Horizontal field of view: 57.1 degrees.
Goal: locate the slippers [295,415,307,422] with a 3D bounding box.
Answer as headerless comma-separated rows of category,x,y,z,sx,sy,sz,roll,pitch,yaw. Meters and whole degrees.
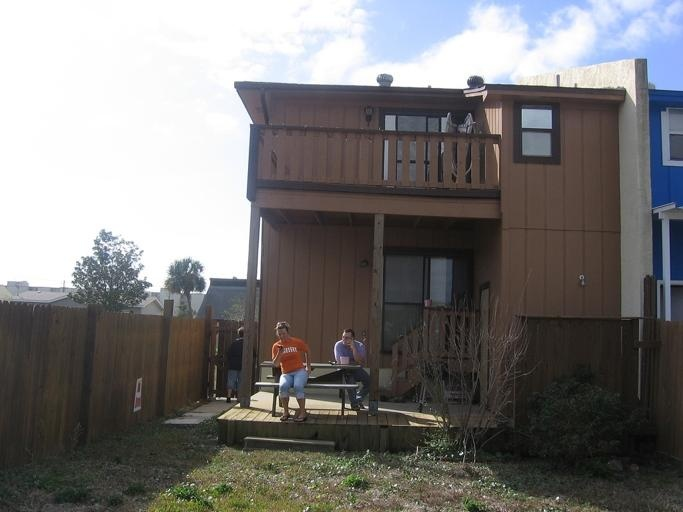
slippers,-0.734,2.817,11.010,0.194,0.108,0.202,4,-9,-11

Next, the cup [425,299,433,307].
cup,1.978,1.026,14.082,0.150,0.149,0.244,-6,-8,16

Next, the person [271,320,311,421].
person,-0.928,2.053,11.397,0.737,1.726,0.780,0,-8,13

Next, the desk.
desk,-0.294,2.491,12.447,1.434,0.851,1.418,0,-6,4
